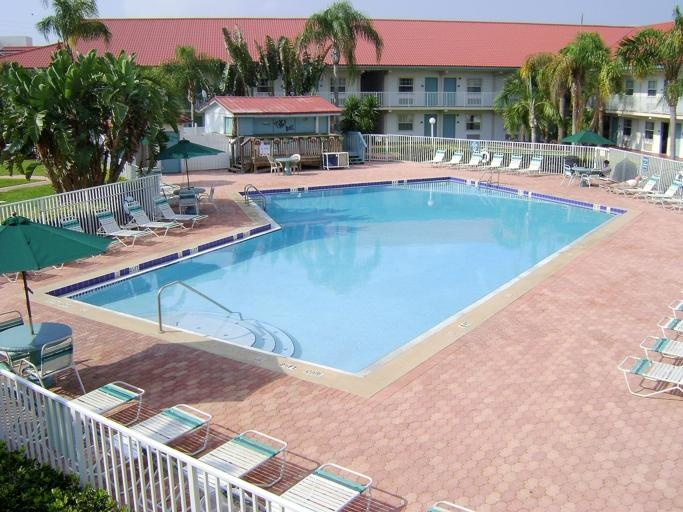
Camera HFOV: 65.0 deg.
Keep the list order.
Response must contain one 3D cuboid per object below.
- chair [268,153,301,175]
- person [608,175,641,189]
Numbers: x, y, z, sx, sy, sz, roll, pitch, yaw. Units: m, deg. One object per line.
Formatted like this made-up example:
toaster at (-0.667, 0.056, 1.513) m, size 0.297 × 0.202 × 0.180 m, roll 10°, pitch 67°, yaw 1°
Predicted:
chair at (-3.341, -5.270, 30.663) m, size 1.910 × 1.058 × 1.717 m, roll -4°, pitch 16°, yaw -9°
person at (12.551, -3.097, 22.950) m, size 0.656 × 0.537 × 1.368 m, roll -5°, pitch 13°, yaw -16°
